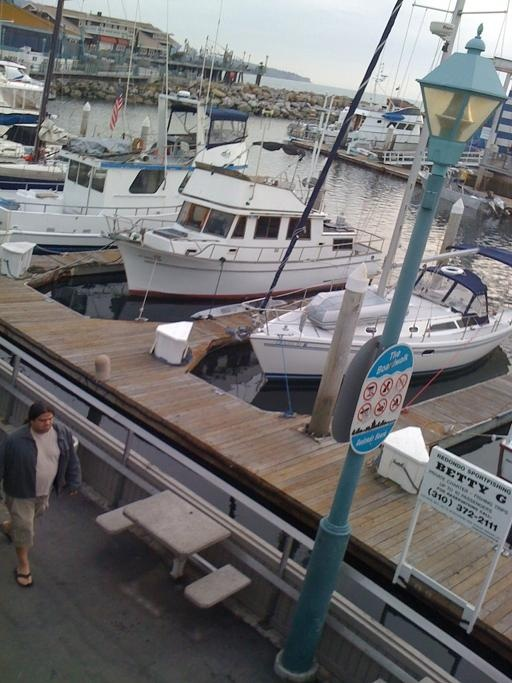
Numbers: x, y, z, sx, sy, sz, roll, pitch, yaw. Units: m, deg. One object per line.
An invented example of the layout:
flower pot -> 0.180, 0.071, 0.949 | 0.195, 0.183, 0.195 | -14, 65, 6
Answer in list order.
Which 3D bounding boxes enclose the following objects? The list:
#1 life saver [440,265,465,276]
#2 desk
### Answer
life saver -> 4.897, -1.755, 13.102 | 0.437, 0.143, 0.334 | -6, 20, -42
desk -> -0.677, 1.540, 4.470 | 0.935, 0.420, 0.626 | 23, 28, 37
